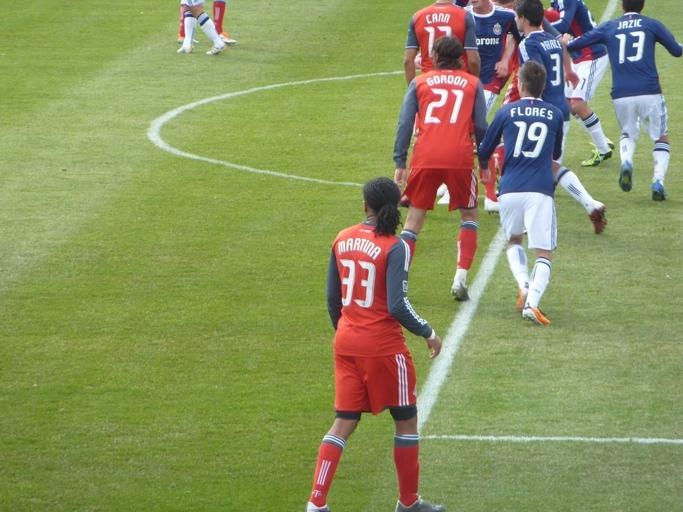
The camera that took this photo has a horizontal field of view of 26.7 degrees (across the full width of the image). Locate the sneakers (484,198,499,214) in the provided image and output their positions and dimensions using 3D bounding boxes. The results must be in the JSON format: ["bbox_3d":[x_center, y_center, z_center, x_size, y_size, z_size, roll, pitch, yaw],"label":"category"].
[{"bbox_3d":[1.620,-0.514,15.607,0.175,0.153,0.130,-7,20,2],"label":"sneakers"}]

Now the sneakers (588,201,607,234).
[{"bbox_3d":[2.562,-0.370,14.053,0.090,0.275,0.228,4,-25,-34],"label":"sneakers"}]

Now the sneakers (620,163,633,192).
[{"bbox_3d":[3.133,-0.850,15.853,0.129,0.341,0.193,-1,24,5],"label":"sneakers"}]

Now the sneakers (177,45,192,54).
[{"bbox_3d":[-2.674,-3.445,24.054,0.315,0.131,0.100,6,47,48],"label":"sneakers"}]

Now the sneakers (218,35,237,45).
[{"bbox_3d":[-1.955,-3.680,24.617,0.317,0.127,0.108,3,14,33],"label":"sneakers"}]

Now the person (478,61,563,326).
[{"bbox_3d":[1.645,-0.550,13.156,0.749,2.261,0.987,-1,24,6],"label":"person"}]

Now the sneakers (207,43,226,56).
[{"bbox_3d":[-2.098,-3.420,23.969,0.170,0.135,0.379,9,-15,-32],"label":"sneakers"}]

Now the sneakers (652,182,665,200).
[{"bbox_3d":[3.524,-0.692,16.053,0.096,0.118,0.256,-8,-18,19],"label":"sneakers"}]

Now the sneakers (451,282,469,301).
[{"bbox_3d":[1.122,0.368,13.626,0.096,0.103,0.237,-9,-25,22],"label":"sneakers"}]
